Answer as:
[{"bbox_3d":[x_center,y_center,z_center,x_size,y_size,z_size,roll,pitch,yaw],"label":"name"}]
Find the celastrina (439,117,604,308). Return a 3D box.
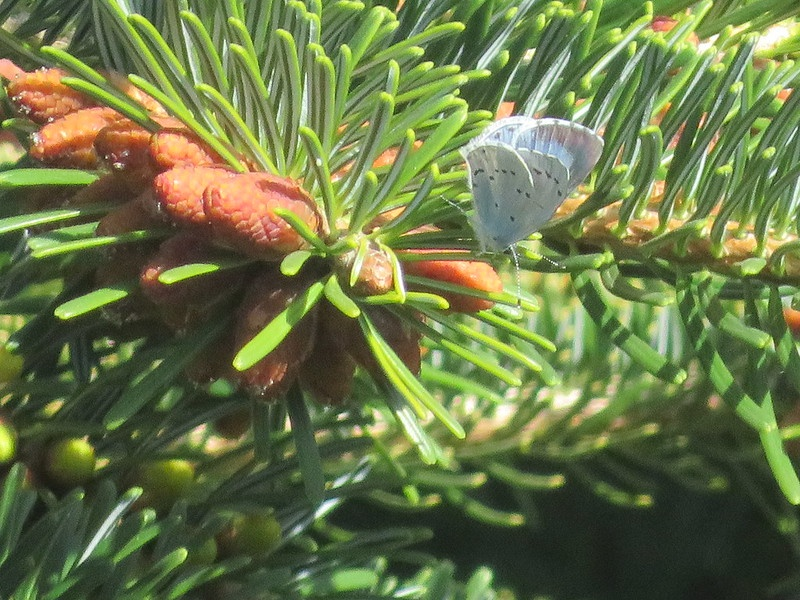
[{"bbox_3d":[0.078,-0.065,0.792,0.064,0.126,0.084,-8,81,-20],"label":"celastrina"}]
